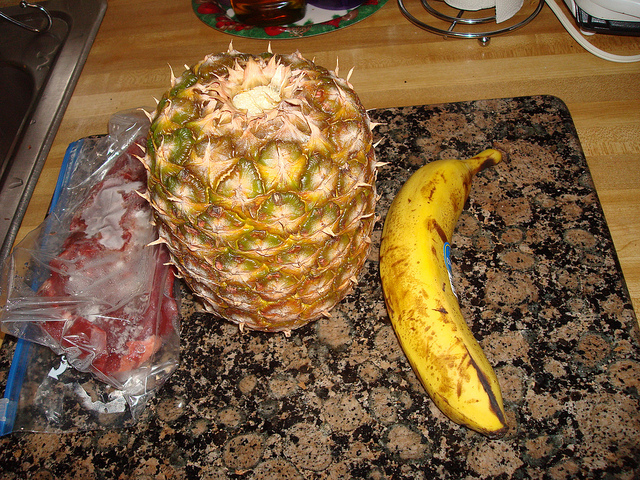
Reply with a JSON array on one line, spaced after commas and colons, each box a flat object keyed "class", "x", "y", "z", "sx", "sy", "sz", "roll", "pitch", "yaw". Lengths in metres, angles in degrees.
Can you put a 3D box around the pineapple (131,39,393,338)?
[{"class": "pineapple", "x": -0.112, "y": -0.104, "z": 1.190, "sx": 0.447, "sy": 0.408, "sz": 0.511, "roll": 0, "pitch": 64, "yaw": 6}]
